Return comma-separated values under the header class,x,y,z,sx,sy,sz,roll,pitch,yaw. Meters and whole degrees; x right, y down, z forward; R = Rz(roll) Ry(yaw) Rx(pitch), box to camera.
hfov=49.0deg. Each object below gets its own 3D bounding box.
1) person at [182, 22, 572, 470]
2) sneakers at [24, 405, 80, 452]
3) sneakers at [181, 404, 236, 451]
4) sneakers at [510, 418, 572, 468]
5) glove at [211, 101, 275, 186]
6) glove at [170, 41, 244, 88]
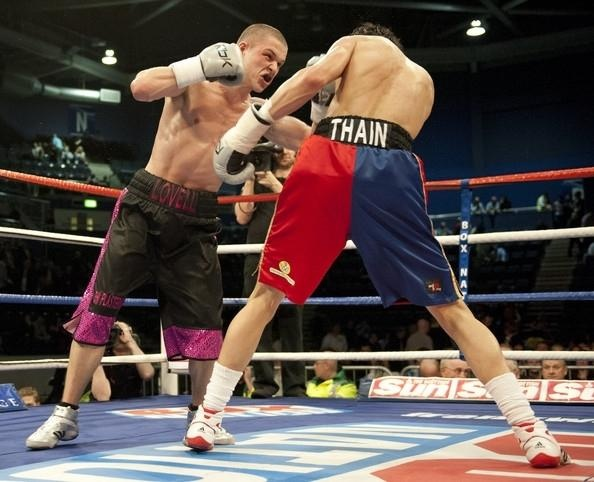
class,x,y,z,sx,sy,sz,roll,pitch,yaw
person,0.281,-0.143,2.575,1.403,1.948,1.113,0,-11,11
sneakers,-0.896,0.711,2.527,0.211,0.116,0.065,-12,-7,15
sneakers,-0.313,0.674,2.339,0.100,0.090,0.230,1,-4,12
sneakers,0.798,0.669,2.198,0.127,0.078,0.227,-10,18,12
glove,-0.205,-0.365,2.505,0.248,0.138,0.354,-35,-20,-43
glove,-0.338,-0.687,2.582,0.259,0.165,0.107,-16,-29,-6
